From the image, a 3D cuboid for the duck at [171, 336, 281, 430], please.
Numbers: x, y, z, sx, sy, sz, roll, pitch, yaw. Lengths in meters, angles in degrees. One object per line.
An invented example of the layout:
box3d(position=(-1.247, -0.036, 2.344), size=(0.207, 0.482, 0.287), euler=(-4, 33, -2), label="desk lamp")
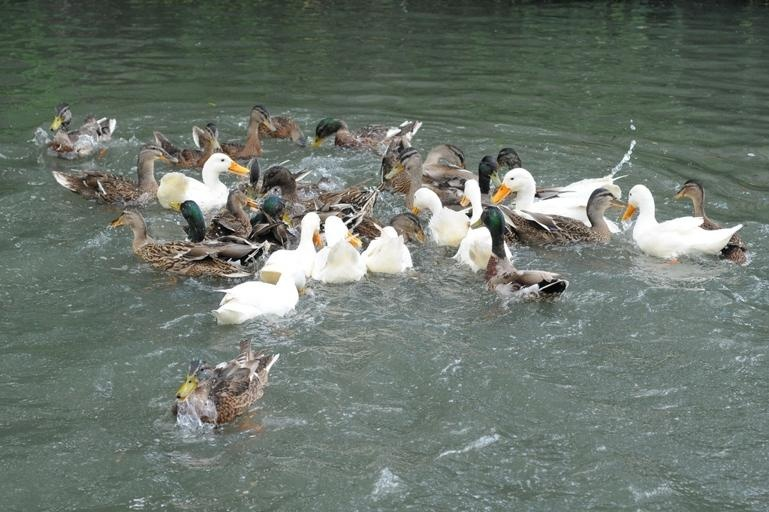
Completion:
box3d(position=(-2.327, 1.963, 13.388), size=(0.920, 0.880, 1.537), euler=(23, 43, 33), label="duck")
